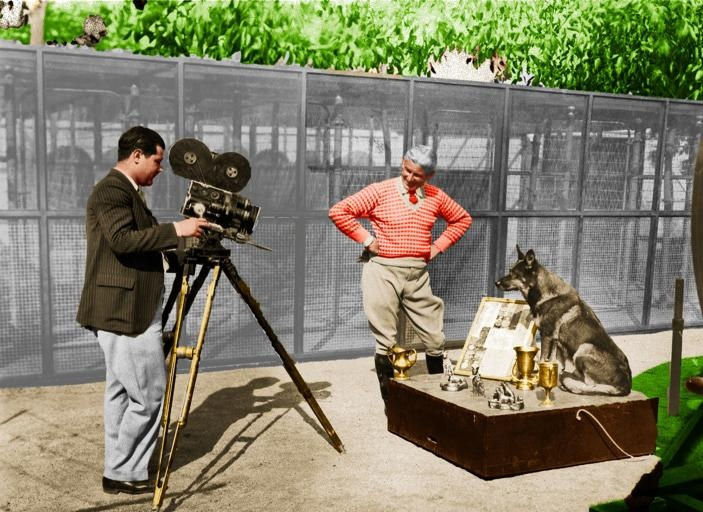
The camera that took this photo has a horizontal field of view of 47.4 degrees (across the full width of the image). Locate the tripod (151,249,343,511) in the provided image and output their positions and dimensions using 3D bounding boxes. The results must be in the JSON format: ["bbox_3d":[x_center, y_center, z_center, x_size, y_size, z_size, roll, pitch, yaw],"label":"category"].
[{"bbox_3d":[-1.178,0.785,6.879,1.979,1.947,1.709,-2,-1,19],"label":"tripod"}]

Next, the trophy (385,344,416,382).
[{"bbox_3d":[0.457,0.986,7.289,0.258,0.289,0.164,0,1,11],"label":"trophy"}]

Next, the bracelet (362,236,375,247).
[{"bbox_3d":[0.154,-0.137,7.451,0.089,0.063,0.087,-47,2,-16],"label":"bracelet"}]

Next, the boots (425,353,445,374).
[{"bbox_3d":[0.794,1.030,7.687,0.160,0.241,0.181,-2,6,-14],"label":"boots"}]

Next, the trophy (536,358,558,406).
[{"bbox_3d":[1.666,1.041,6.794,0.154,0.340,0.417,3,9,14],"label":"trophy"}]

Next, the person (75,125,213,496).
[{"bbox_3d":[-1.736,0.434,6.260,0.796,2.855,0.392,-2,9,-21],"label":"person"}]

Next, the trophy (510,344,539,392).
[{"bbox_3d":[1.535,0.981,7.008,0.223,0.357,0.222,1,0,-23],"label":"trophy"}]

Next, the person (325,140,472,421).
[{"bbox_3d":[0.448,0.204,7.550,1.251,2.468,0.639,0,8,-6],"label":"person"}]
